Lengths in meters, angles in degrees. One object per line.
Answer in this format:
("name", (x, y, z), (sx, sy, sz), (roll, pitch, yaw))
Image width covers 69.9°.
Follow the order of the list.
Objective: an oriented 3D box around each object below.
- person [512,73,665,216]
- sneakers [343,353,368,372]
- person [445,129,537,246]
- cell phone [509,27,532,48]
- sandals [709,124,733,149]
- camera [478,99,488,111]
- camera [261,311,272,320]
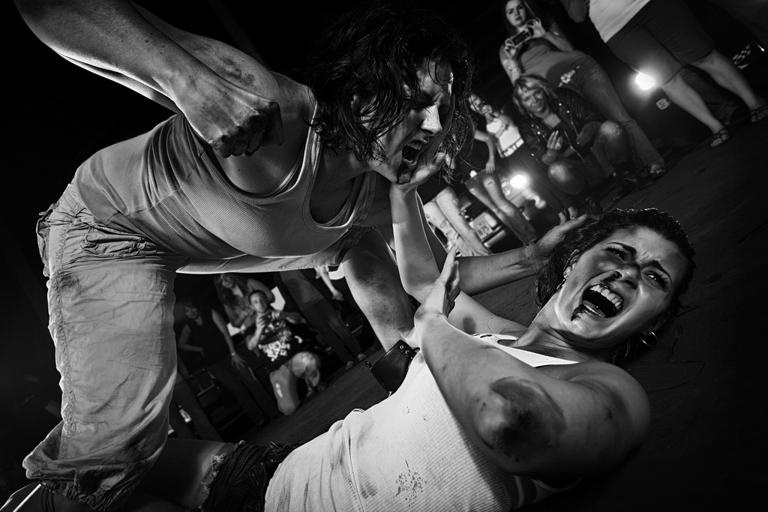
("person", (1.507, -0.958, 4.421), (0.717, 1.215, 0.766), (-31, -7, -34))
("sneakers", (-0.208, 0.742, 3.881), (0.082, 0.113, 0.281), (-9, -2, 33))
("person", (0.835, -0.572, 4.555), (0.355, 1.197, 0.279), (-38, -28, 8))
("cell phone", (1.122, -1.793, 4.519), (0.193, 0.099, 0.047), (-15, -3, -3))
("sandals", (2.220, -0.784, 3.653), (0.222, 0.083, 0.126), (-31, -7, -43))
("camera", (0.826, -1.270, 4.668), (0.084, 0.086, 0.087), (-2, -24, -1))
("camera", (-0.890, 0.454, 4.176), (0.048, 0.017, 0.070), (-2, 26, -3))
